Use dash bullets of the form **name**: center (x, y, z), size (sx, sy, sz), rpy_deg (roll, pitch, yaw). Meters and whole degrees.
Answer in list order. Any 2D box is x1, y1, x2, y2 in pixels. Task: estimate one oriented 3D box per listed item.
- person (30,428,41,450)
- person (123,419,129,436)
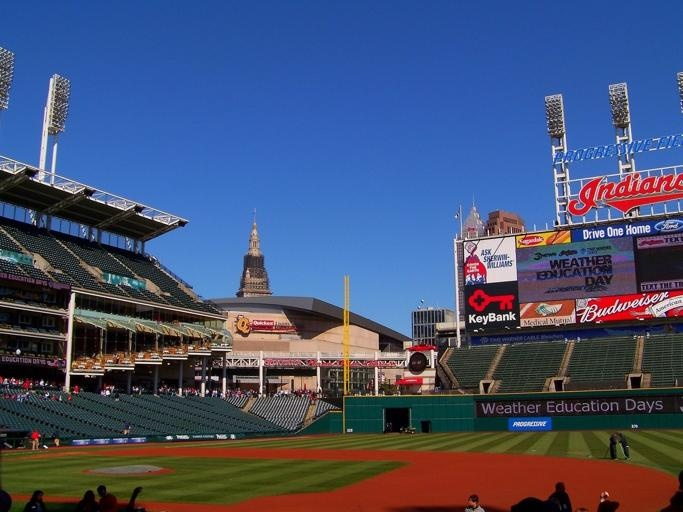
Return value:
- **person**: center (-21.464, 12.857, 62.348), size (0.575, 1.355, 2.432), rpy_deg (2, -14, -19)
- **person**: center (-17.480, 13.983, 72.167), size (0.590, 1.134, 0.243), rpy_deg (0, -57, -8)
